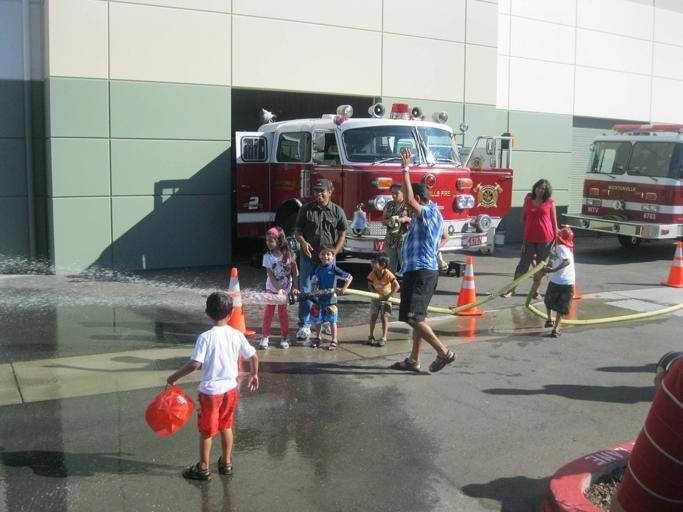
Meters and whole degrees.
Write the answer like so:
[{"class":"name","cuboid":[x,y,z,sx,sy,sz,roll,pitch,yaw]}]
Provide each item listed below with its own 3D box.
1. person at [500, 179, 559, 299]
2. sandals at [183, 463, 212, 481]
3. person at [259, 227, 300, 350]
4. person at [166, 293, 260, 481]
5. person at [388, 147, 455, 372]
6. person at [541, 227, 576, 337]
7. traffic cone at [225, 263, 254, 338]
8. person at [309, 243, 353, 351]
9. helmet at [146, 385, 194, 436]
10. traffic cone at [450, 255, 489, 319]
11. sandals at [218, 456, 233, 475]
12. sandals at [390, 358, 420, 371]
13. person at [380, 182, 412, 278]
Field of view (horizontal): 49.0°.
[{"class":"person","cuboid":[3.184,-0.275,12.539,0.595,2.019,0.814,0,2,-13]},{"class":"sandals","cuboid":[-1.398,2.076,7.219,0.259,0.127,0.129,6,3,39]},{"class":"person","cuboid":[-0.856,0.457,10.014,0.537,1.655,0.570,-2,14,-12]},{"class":"person","cuboid":[-1.223,1.197,7.466,0.838,1.820,0.724,1,2,32]},{"class":"person","cuboid":[1.011,0.103,9.281,0.654,2.700,0.565,2,8,5]},{"class":"person","cuboid":[3.126,0.409,10.655,0.535,1.551,0.534,5,10,10]},{"class":"traffic cone","cuboid":[-1.481,0.622,10.456,0.392,1.044,0.452,0,2,-16]},{"class":"person","cuboid":[-0.153,0.529,10.034,0.436,1.427,0.519,0,1,-15]},{"class":"helmet","cuboid":[-1.661,1.478,7.189,0.432,0.439,0.235,-1,8,-16]},{"class":"traffic cone","cuboid":[1.972,0.473,12.031,0.708,1.034,0.746,-2,5,-3]},{"class":"sandals","cuboid":[-1.139,2.053,7.299,0.085,0.095,0.216,2,22,-21]},{"class":"sandals","cuboid":[0.812,1.353,9.478,0.319,0.148,0.141,5,4,19]},{"class":"person","cuboid":[0.820,-0.252,11.035,0.423,1.562,0.462,2,5,17]}]
